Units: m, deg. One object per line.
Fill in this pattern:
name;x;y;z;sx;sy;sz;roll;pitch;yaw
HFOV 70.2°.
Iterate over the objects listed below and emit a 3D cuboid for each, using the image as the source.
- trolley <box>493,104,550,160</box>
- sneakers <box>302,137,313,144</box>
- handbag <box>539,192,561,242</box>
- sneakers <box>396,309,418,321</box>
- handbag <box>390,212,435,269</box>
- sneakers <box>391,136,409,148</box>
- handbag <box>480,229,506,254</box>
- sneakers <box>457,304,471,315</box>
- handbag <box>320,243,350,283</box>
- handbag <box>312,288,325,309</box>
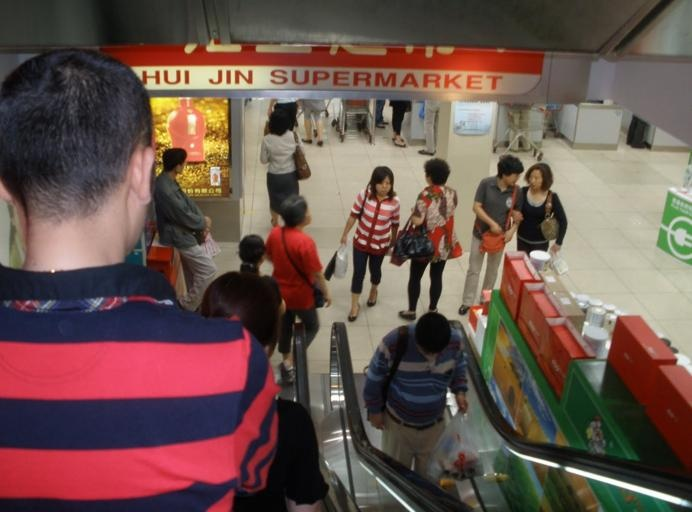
trolley;4.810;-3.582;13.567;1.223;1.452;1.152;20;34;37
sneakers;-1.058;-3.096;13.341;0.118;0.128;0.311;-20;36;-38
handbag;2.705;-0.522;6.550;0.223;0.671;0.495;-2;14;12
sneakers;0.866;0.847;6.968;0.123;0.103;0.239;-17;36;-32
handbag;0.894;-0.203;6.489;0.555;0.558;0.240;4;18;11
sneakers;1.462;-3.101;13.368;0.182;0.250;0.547;-26;31;-15
handbag;2.007;-0.215;6.830;0.303;0.286;0.283;-20;41;-17
sneakers;1.697;0.779;7.105;0.092;0.093;0.214;20;37;29
handbag;-0.151;0.089;6.757;0.299;0.523;0.288;0;18;-2
handbag;-0.324;0.478;5.628;0.103;0.258;0.207;-15;-3;23
